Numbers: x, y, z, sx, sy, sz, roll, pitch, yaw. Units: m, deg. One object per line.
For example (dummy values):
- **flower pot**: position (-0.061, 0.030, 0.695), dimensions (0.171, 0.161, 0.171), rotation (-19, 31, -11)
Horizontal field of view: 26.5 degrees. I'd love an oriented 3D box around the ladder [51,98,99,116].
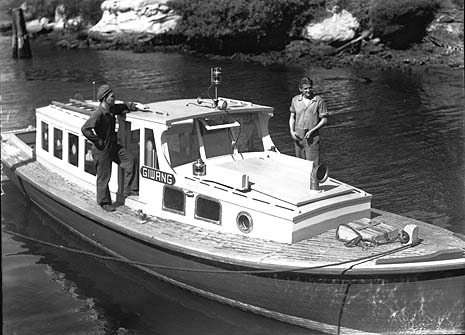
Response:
- **ladder**: position (-4.696, -1.872, 30.257), dimensions (1.752, 0.095, 0.589), rotation (17, 29, 26)
